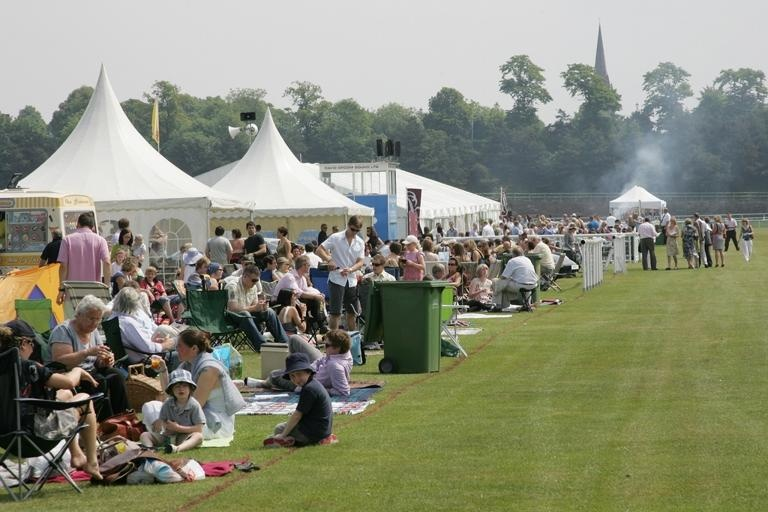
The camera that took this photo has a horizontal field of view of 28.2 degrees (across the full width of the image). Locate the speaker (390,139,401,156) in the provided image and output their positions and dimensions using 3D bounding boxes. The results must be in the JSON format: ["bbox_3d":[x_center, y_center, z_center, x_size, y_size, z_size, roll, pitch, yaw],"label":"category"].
[{"bbox_3d":[0.446,-3.894,56.010,0.192,0.648,0.771,-4,-3,11],"label":"speaker"}]

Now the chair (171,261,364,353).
[{"bbox_3d":[-2.727,1.045,29.938,4.620,1.724,1.968,-3,-2,-11],"label":"chair"}]

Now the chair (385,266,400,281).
[{"bbox_3d":[0.209,0.368,34.426,0.388,0.346,0.276,1,-2,-5],"label":"chair"}]

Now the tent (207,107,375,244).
[{"bbox_3d":[-3.050,-2.673,46.571,4.241,2.790,4.104,-1,-1,-1],"label":"tent"}]

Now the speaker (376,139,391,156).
[{"bbox_3d":[0.127,-4.020,55.554,0.801,0.753,0.813,-1,2,-7],"label":"speaker"}]

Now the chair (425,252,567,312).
[{"bbox_3d":[2.480,0.595,36.085,1.237,1.352,2.496,-1,3,-40],"label":"chair"}]

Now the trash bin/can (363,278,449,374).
[{"bbox_3d":[0.556,1.310,29.143,1.492,1.703,2.208,-1,0,12],"label":"trash bin/can"}]
